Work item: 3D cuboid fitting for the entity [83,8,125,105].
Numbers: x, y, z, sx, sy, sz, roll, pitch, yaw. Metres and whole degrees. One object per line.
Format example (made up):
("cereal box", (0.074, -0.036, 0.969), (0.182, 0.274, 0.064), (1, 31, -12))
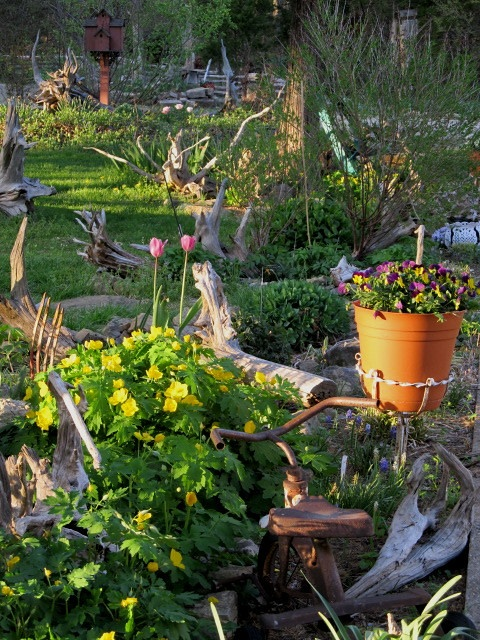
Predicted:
("entity", (-3.608, -6.873, 20.606), (1.131, 2.332, 0.736), (-2, 21, -9))

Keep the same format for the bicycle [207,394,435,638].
("bicycle", (0.207, 0.668, 2.528), (0.595, 0.733, 0.915), (-5, -1, -11))

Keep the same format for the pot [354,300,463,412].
("pot", (0.832, 0.210, 3.701), (0.541, 0.395, 0.437), (3, -4, -21))
